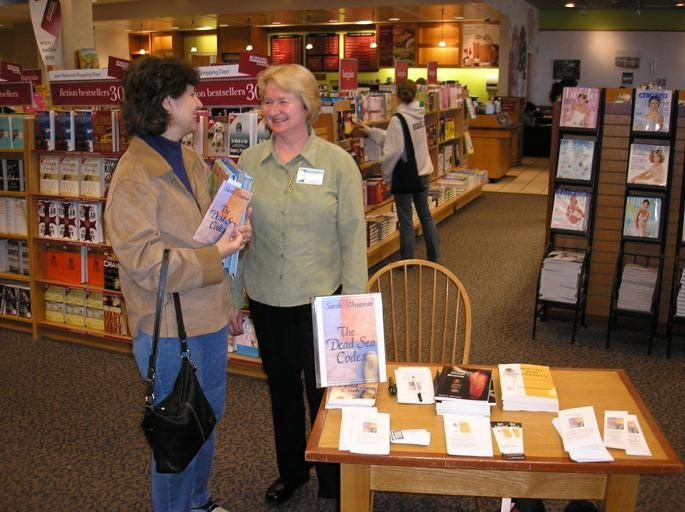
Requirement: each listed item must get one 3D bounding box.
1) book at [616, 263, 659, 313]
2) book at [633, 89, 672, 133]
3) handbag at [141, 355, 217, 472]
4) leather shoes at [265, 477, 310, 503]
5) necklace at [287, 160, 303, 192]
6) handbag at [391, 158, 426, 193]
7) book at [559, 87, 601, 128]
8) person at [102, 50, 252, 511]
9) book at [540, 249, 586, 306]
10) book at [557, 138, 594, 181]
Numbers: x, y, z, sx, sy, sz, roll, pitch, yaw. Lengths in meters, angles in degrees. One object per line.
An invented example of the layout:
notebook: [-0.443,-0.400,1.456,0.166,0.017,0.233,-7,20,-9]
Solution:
book: [2.636,0.288,5.062,0.304,0.373,0.268,7,16,27]
book: [2.671,-1.238,4.850,0.363,0.437,0.050,4,6,20]
handbag: [-0.736,0.677,2.501,0.226,0.420,0.370,-5,18,18]
leather shoes: [-0.316,1.312,3.232,0.084,0.094,0.232,27,22,39]
necklace: [-0.238,-0.393,2.739,0.068,0.152,0.054,-1,15,-3]
handbag: [0.722,-0.915,6.384,0.392,0.468,0.136,-1,24,0]
book: [2.122,-1.312,5.031,0.350,0.392,0.056,6,3,18]
person: [-0.734,0.272,2.626,0.594,2.282,0.480,-11,18,-34]
book: [2.018,0.165,5.281,0.536,0.533,0.406,2,-2,38]
book: [2.123,-0.868,5.130,0.347,0.415,0.057,8,0,22]
